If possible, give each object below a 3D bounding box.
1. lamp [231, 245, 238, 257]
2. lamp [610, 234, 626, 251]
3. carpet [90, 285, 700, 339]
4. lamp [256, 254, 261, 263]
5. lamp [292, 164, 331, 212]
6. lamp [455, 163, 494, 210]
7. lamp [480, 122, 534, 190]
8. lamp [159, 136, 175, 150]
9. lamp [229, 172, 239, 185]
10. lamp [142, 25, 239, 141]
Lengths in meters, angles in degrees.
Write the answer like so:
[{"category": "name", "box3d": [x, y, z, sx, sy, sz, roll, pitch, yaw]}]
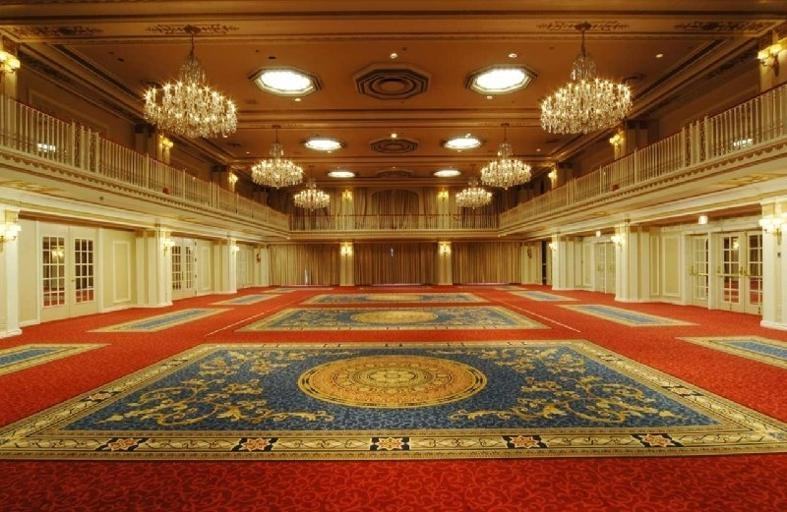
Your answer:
[{"category": "lamp", "box3d": [-7.361, -0.276, 21.816, 0.255, 0.515, 0.674, -2, 2, 2]}, {"category": "lamp", "box3d": [8.272, -0.526, 17.260, 0.366, 0.712, 0.895, -2, 1, -10]}, {"category": "carpet", "box3d": [0.309, 1.743, 14.989, 14.501, 0.467, 6.662, 0, 6, 1]}, {"category": "lamp", "box3d": [-7.504, 0.105, 26.252, 0.224, 0.513, 0.121, -2, 9, -9]}, {"category": "lamp", "box3d": [-3.579, -2.726, 20.637, 1.487, 1.142, 1.322, -13, 30, -29]}, {"category": "lamp", "box3d": [3.551, -2.791, 20.683, 1.473, 1.143, 1.337, 8, 23, 35]}, {"category": "lamp", "box3d": [3.860, -3.456, 16.152, 2.146, 1.888, 1.631, -3, 21, 5]}, {"category": "lamp", "box3d": [-7.753, -3.915, 16.144, 0.576, 0.350, 0.461, 5, 10, -8]}, {"category": "lamp", "box3d": [-7.386, -3.591, 21.664, 0.278, 0.568, 1.174, -2, 7, -12]}, {"category": "lamp", "box3d": [-4.615, -4.037, 10.672, 2.069, 1.946, 1.617, 3, 24, -16]}]
